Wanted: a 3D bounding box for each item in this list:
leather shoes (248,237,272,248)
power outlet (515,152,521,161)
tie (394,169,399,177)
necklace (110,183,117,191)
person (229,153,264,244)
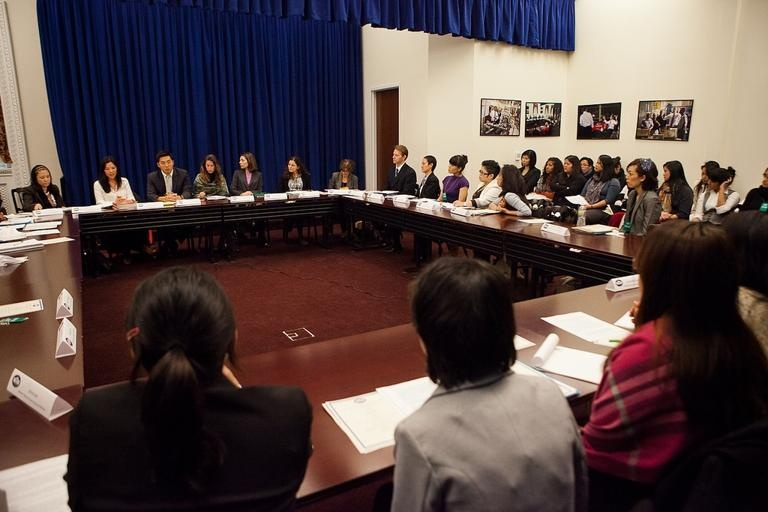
[{"bbox_3d":[-1.793,-0.226,7.166,0.149,0.143,0.611,-5,9,-40],"label":"leather shoes"},{"bbox_3d":[2.095,-1.576,7.870,0.095,0.107,0.024,3,-2,0],"label":"power outlet"},{"bbox_3d":[0.168,-1.189,7.122,0.068,0.074,0.068,-1,2,-10],"label":"tie"},{"bbox_3d":[-3.280,-0.838,6.052,0.059,0.090,0.030,6,-7,-2],"label":"necklace"},{"bbox_3d":[-1.912,-0.854,7.068,0.460,1.236,0.606,-3,4,-34],"label":"person"}]
